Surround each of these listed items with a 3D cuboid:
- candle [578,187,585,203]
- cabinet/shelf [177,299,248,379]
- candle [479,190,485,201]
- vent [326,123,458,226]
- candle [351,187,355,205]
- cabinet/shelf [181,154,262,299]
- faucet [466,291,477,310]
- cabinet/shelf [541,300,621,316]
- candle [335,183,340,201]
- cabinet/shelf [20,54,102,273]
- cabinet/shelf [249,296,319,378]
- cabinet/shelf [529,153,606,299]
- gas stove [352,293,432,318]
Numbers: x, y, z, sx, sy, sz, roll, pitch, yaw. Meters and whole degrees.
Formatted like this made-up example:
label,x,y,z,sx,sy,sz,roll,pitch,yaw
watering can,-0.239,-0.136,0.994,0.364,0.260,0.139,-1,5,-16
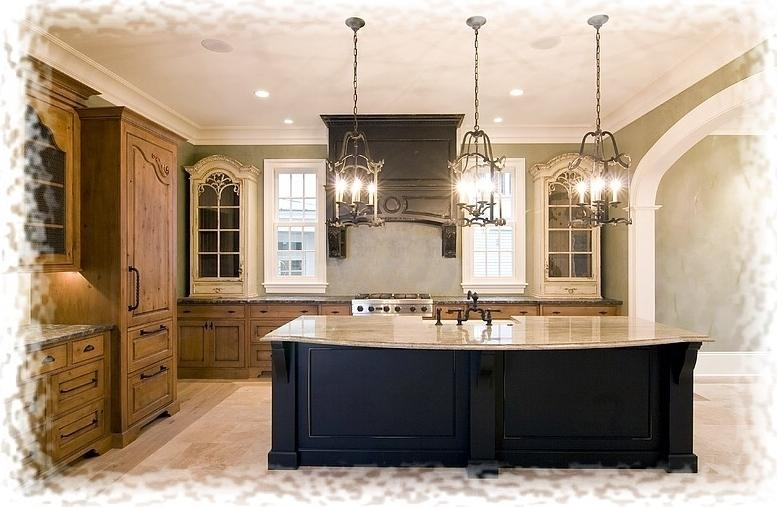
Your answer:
label,x,y,z,sx,sy,sz,roll,pitch,yaw
candle,1.885,-0.558,5.980,0.071,0.145,0.112,0,-2,17
cabinet/shelf,-2.394,1.157,8.424,1.157,1.032,0.584,0,-5,-1
candle,0.910,-0.554,5.916,0.090,0.098,0.051,0,-2,13
vent,0.171,-1.018,8.724,2.028,1.661,0.736,2,6,11
candle,-0.333,-0.549,6.013,0.044,0.141,0.107,1,-2,-5
cabinet/shelf,-2.343,-0.369,8.716,1.003,1.982,0.341,1,-2,-12
faucet,0.972,0.554,7.155,0.078,0.258,0.164,-4,7,4
cabinet/shelf,2.613,0.737,8.361,1.063,0.204,0.199,1,-2,-3
candle,-0.474,-0.588,6.013,0.074,0.183,0.057,1,-2,-4
cabinet/shelf,-3.385,-0.862,6.308,0.198,2.093,0.667,0,-2,35
cabinet/shelf,-1.236,0.991,7.280,1.121,0.968,0.609,0,-4,1
cabinet/shelf,2.574,-0.325,8.866,1.162,2.148,0.546,-1,2,-1
gas stove,0.068,0.703,8.389,1.096,0.269,0.670,0,-2,13
